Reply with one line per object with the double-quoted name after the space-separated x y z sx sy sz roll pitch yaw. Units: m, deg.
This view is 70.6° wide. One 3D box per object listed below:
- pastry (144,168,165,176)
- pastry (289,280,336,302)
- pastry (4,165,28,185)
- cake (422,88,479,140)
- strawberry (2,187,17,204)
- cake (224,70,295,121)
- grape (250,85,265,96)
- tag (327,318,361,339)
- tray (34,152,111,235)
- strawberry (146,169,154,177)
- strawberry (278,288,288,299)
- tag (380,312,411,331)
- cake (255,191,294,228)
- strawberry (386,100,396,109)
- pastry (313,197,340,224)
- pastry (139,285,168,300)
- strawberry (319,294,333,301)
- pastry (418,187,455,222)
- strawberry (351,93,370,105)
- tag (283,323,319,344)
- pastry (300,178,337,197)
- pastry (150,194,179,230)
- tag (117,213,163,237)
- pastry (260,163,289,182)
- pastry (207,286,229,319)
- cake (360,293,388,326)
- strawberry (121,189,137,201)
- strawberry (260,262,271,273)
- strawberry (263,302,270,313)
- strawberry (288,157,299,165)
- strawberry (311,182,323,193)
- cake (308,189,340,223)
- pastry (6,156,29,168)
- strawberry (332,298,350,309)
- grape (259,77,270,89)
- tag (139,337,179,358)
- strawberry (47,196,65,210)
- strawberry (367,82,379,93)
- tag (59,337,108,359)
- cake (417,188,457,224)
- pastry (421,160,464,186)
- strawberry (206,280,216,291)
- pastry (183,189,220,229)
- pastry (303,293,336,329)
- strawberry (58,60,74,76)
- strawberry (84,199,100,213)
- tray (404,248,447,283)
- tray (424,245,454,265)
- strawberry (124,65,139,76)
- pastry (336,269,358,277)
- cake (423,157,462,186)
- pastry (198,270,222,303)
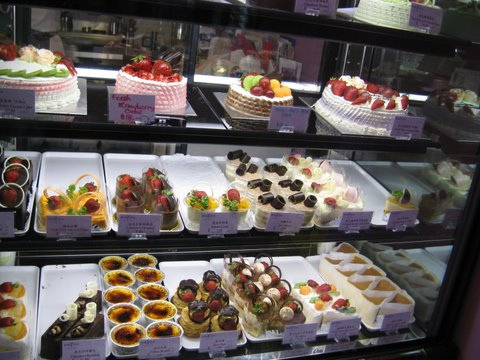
-0.513 -0.050 2.030 0.069 0.027 0.051 8 3 -1 "pastry"
0.461 0.731 2.250 0.142 0.068 0.144 8 14 40 "pastry"
-1.080 -0.024 1.650 0.084 0.081 0.089 30 14 39 "pastry"
1.266 -0.413 2.123 0.298 0.120 0.310 -1 36 -17 "cake"
-0.980 0.066 1.447 0.053 0.052 0.058 -12 28 -31 "strawberry"
0.095 -0.450 1.788 0.308 0.157 0.313 23 26 15 "cake"
0.090 -0.460 1.743 0.053 0.032 0.054 21 33 15 "grape"
0.623 0.897 2.064 0.138 0.089 0.007 -3 16 -17 "tag"
-1.148 -0.007 2.326 0.338 0.075 0.685 -4 -22 -31 "tray"
-0.533 -0.043 2.005 0.032 0.026 0.037 -2 9 -1 "strawberry"
0.268 0.707 2.133 0.038 0.046 0.053 -29 37 -23 "strawberry"
0.994 0.908 2.184 0.137 0.094 0.007 -6 19 -18 "tag"
0.156 0.165 1.937 0.196 0.135 0.124 -13 29 -32 "cake"
0.816 -0.409 1.831 0.049 0.035 0.013 -43 40 -7 "strawberry"
0.507 0.183 2.035 0.161 0.069 0.124 -15 29 -21 "pastry"
-0.521 0.684 2.058 0.095 0.022 0.096 15 14 9 "pastry"
0.544 0.748 2.157 0.064 0.046 0.046 0 5 -21 "strawberry"
1.289 0.167 2.216 0.168 0.162 0.091 -14 31 -16 "pastry"
0.652 -0.437 1.825 0.091 0.022 0.054 -38 55 3 "strawberry"
0.342 0.887 1.967 0.147 0.092 0.008 -3 20 -15 "tag"
0.526 0.043 2.243 0.145 0.046 0.142 0 20 -2 "pastry"
-0.362 0.148 1.723 0.156 0.169 0.153 1 21 -8 "pastry"
-0.464 0.200 1.553 0.135 0.083 0.132 3 11 -8 "tag"
0.237 -0.051 2.327 0.197 0.084 0.145 8 25 9 "pastry"
-0.120 0.712 1.968 0.113 0.062 0.151 15 59 -8 "pastry"
0.876 0.842 2.248 0.181 0.118 0.180 12 8 36 "cake"
-0.561 0.075 1.696 0.054 0.062 0.055 9 29 11 "strawberry"
0.172 0.594 2.290 0.046 0.049 0.048 -3 2 -27 "strawberry"
0.154 0.747 1.987 0.042 0.051 0.043 -1 2 -15 "strawberry"
0.389 -0.146 2.471 0.050 0.028 0.060 4 26 2 "strawberry"
0.498 0.049 2.214 0.082 0.036 0.057 20 29 31 "strawberry"
0.506 0.151 2.076 0.128 0.070 0.183 -8 20 -26 "cake"
-1.167 -0.098 1.778 0.054 0.040 0.055 6 23 -21 "pastry"
0.642 0.773 2.133 0.102 0.066 0.063 -5 13 -23 "strawberry"
0.131 -0.521 1.812 0.059 0.058 0.060 6 6 -7 "grape"
-0.429 0.867 1.763 0.128 0.079 0.005 0 3 -16 "tag"
-0.886 0.110 1.638 0.060 0.061 0.062 -18 56 -5 "strawberry"
0.786 -0.550 2.006 0.051 0.032 0.076 0 28 -2 "strawberry"
-0.785 0.827 1.675 0.126 0.111 0.018 1 12 -5 "tag"
1.287 0.175 2.207 0.191 0.190 0.101 -6 23 -14 "cake"
1.334 -0.056 2.286 0.145 0.063 0.146 -18 34 -23 "pastry"
-0.182 0.663 2.139 0.052 0.060 0.051 -14 20 -41 "strawberry"
-0.205 0.133 1.857 0.188 0.183 0.198 4 21 -4 "pastry"
0.501 0.819 2.136 0.174 0.063 0.174 -12 28 -23 "pastry"
-0.839 -0.559 1.637 0.048 0.035 0.169 -13 46 -31 "strawberry"
-0.715 0.125 1.636 0.046 0.035 0.062 1 19 -7 "strawberry"
1.307 0.582 2.371 0.015 0.125 0.388 21 16 -22 "tray"
1.310 0.474 2.234 0.118 0.029 0.111 -1 20 9 "tray"
-0.526 -0.532 1.647 0.067 0.024 0.067 -6 45 -31 "strawberry"
0.746 0.653 2.386 0.136 0.014 0.053 7 25 6 "pastry"
1.342 -0.052 2.271 0.144 0.072 0.146 -29 44 -1 "cake"
-0.159 0.681 2.171 0.107 0.103 0.110 -14 11 38 "pastry"
